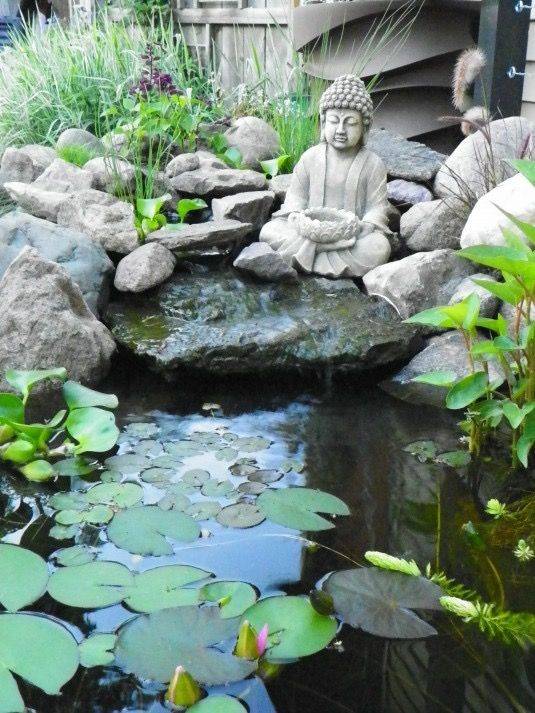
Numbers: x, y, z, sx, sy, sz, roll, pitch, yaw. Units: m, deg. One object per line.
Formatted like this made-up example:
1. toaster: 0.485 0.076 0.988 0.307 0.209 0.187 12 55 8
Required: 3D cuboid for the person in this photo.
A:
1. person: 0.362 -0.995 3.426 0.743 0.964 0.644 10 28 18
